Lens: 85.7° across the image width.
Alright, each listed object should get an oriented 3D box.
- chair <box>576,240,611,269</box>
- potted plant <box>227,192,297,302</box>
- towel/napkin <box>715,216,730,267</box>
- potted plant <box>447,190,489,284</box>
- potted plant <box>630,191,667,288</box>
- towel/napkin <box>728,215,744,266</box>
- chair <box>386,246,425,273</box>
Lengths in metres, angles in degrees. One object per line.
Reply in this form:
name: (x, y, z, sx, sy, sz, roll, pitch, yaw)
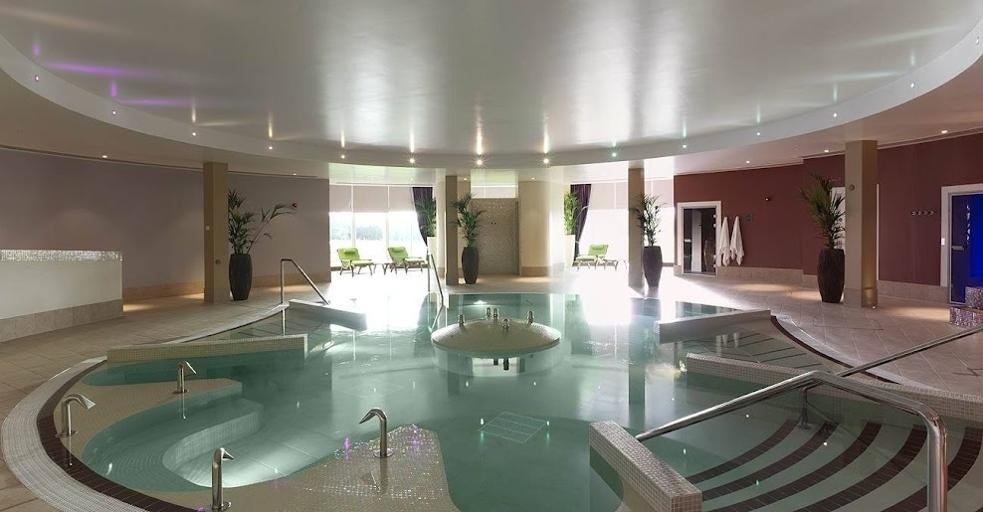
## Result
chair: (4.208, -0.008, 22.376, 1.220, 0.890, 1.258, 0, 0, 37)
potted plant: (-7.077, -0.429, 15.998, 1.585, 3.327, 2.817, -2, 1, -21)
towel/napkin: (8.010, -0.482, 18.284, 0.494, 1.701, 0.228, 0, 2, 36)
potted plant: (-0.785, -0.624, 18.749, 1.084, 3.135, 2.587, -1, 1, 1)
potted plant: (4.956, -0.490, 16.755, 0.728, 3.003, 1.526, -1, 1, 17)
towel/napkin: (8.268, -0.491, 17.970, 0.252, 1.638, 0.483, -2, 2, -36)
chair: (-3.661, 0.138, 21.803, 1.027, 0.846, 1.620, -1, 2, -39)
